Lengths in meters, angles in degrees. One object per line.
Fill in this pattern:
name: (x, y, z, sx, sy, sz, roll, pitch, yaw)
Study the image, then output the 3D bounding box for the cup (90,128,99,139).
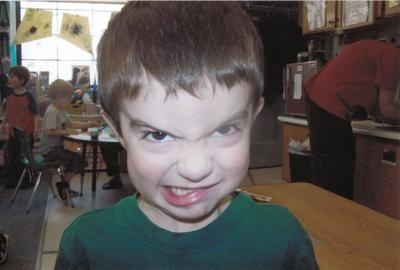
cup: (-0.731, -0.012, 2.360, 0.072, 0.066, 0.074, -1, -8, 0)
